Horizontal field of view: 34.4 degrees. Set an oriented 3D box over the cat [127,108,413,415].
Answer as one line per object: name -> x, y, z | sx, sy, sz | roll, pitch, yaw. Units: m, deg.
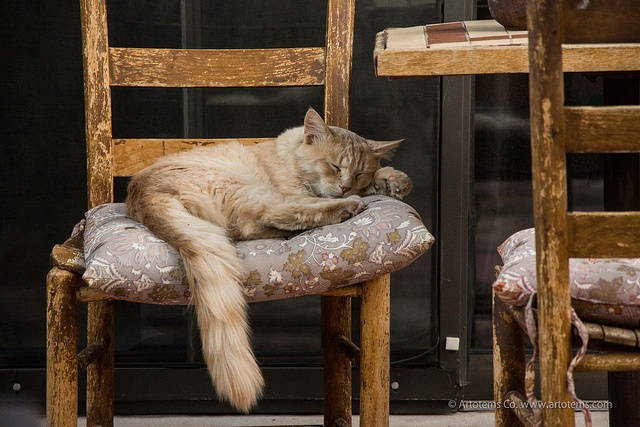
cat -> -0.261, -0.043, 3.391 | 0.764, 0.341, 1.269 | 23, 40, 16
